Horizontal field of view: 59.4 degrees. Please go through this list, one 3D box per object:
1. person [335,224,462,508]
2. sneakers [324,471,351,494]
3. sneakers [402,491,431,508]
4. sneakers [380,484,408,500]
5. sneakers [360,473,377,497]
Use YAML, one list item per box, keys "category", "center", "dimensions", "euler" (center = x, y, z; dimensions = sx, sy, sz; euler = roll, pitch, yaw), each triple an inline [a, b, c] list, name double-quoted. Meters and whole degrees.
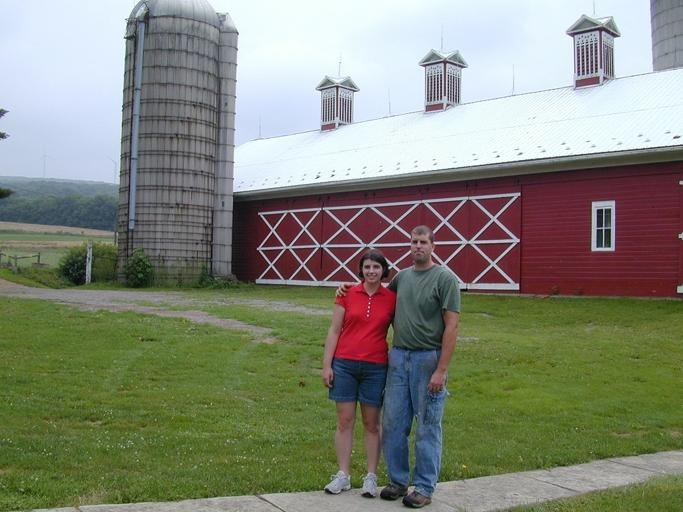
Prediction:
- category: "person"
  center: [0.778, 1.050, 5.951]
  dimensions: [0.707, 2.692, 0.794]
  euler: [3, 3, 16]
- category: "sneakers"
  center: [-0.035, 2.228, 5.962]
  dimensions: [0.221, 0.192, 0.286]
  euler: [3, 3, 20]
- category: "sneakers"
  center: [0.716, 2.276, 5.634]
  dimensions: [0.104, 0.140, 0.286]
  euler: [-20, -31, 40]
- category: "sneakers"
  center: [0.515, 2.302, 5.886]
  dimensions: [0.106, 0.153, 0.301]
  euler: [-16, -23, 38]
- category: "sneakers"
  center: [0.285, 2.228, 5.888]
  dimensions: [0.159, 0.194, 0.198]
  euler: [3, 3, 4]
